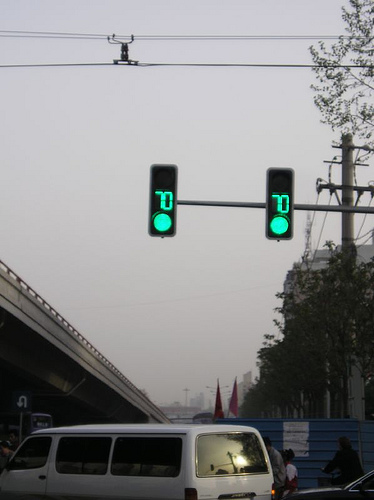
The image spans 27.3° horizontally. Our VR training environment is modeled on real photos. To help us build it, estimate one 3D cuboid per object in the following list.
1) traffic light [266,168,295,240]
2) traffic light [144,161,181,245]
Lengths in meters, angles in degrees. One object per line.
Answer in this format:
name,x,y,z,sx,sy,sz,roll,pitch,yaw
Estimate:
traffic light,1.415,-0.725,11.811,0.432,1.150,0.224,3,-8,5
traffic light,-0.381,-0.767,11.748,0.463,1.145,0.246,3,-8,6
